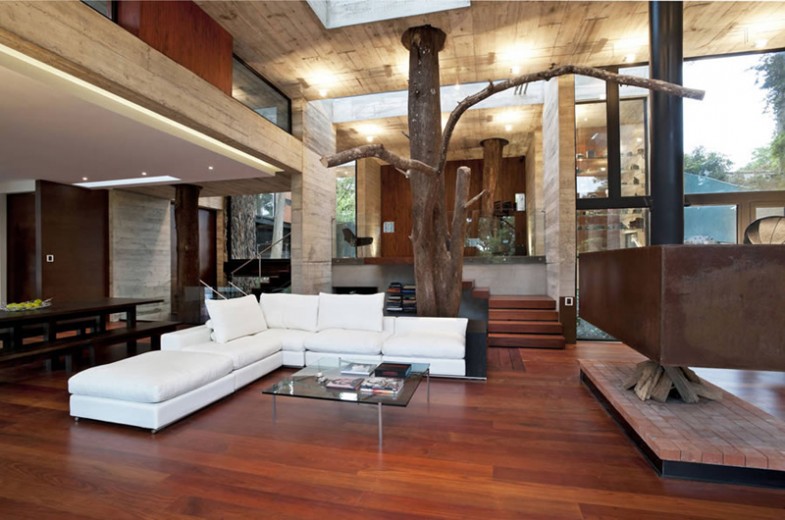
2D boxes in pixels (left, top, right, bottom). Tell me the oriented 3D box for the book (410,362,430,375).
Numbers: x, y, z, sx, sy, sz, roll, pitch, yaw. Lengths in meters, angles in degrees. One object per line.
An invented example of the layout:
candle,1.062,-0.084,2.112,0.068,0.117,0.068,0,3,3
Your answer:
book,0.310,1.259,6.149,0.214,0.079,0.200,0,0,8

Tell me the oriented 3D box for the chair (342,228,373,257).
chair,-0.723,-0.394,10.741,0.585,0.535,0.490,-2,0,-4

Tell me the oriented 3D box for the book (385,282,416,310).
book,0.142,0.618,8.840,0.472,0.242,0.431,0,-2,2

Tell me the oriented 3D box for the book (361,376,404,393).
book,-0.117,1.333,5.674,0.426,0.107,0.277,-2,1,13

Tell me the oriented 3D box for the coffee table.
coffee table,-0.417,1.541,5.853,1.522,0.709,1.001,-2,2,10
